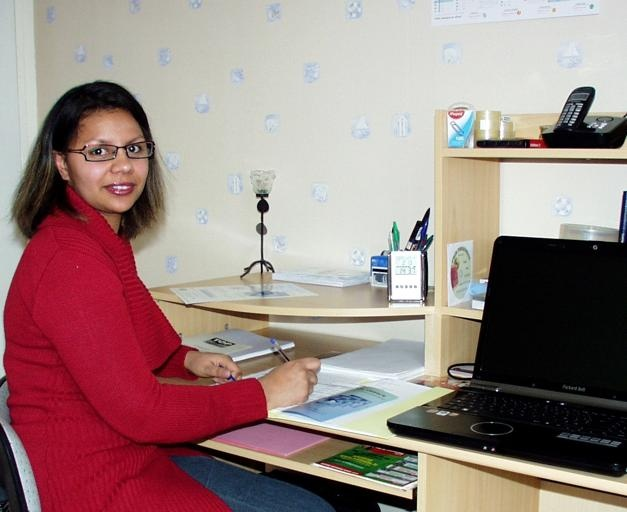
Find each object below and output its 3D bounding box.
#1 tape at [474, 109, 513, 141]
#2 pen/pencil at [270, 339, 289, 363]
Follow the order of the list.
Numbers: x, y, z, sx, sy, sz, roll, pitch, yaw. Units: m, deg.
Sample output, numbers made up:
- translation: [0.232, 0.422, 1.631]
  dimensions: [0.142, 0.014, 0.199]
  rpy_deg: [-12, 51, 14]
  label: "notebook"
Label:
- translation: [0.460, -0.331, 1.254]
  dimensions: [0.127, 0.079, 0.074]
  rpy_deg: [-1, 3, -23]
  label: "tape"
- translation: [-0.105, 0.287, 1.472]
  dimensions: [0.097, 0.024, 0.027]
  rpy_deg: [43, 0, 28]
  label: "pen/pencil"
